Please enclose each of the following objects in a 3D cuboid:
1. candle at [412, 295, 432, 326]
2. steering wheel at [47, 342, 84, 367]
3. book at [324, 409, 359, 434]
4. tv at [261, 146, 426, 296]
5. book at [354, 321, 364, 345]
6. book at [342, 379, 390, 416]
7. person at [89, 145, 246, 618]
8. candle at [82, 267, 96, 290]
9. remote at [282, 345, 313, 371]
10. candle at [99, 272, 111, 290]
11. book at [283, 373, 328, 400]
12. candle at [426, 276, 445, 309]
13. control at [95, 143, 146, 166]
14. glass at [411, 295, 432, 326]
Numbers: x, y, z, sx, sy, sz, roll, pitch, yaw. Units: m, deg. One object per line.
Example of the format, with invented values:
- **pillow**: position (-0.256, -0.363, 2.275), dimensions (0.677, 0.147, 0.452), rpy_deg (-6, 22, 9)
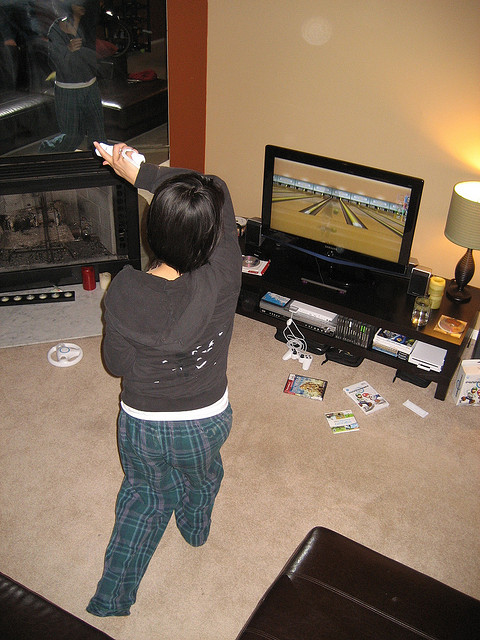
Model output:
- **candle**: position (1.003, -0.045, 2.708), dimensions (0.093, 0.146, 0.093), rpy_deg (-9, 36, -8)
- **steering wheel**: position (-1.080, 0.200, 3.041), dimensions (0.215, 0.067, 0.210), rpy_deg (4, 32, -3)
- **book**: position (0.557, 0.552, 2.693), dimensions (0.162, 0.018, 0.150), rpy_deg (-3, 33, -14)
- **tv**: position (0.633, -0.587, 2.903), dimensions (0.879, 0.632, 0.130), rpy_deg (24, 45, 21)
- **book**: position (0.696, 0.079, 2.908), dimensions (0.035, 0.150, 0.013), rpy_deg (13, 33, 11)
- **book**: position (0.728, 0.449, 2.865), dimensions (0.183, 0.024, 0.241), rpy_deg (-13, 37, -27)
- **person**: position (-0.267, 0.305, 1.570), dimensions (0.454, 1.593, 0.474), rpy_deg (4, 32, -2)
- **candle**: position (-1.061, -0.292, 3.455), dimensions (0.084, 0.188, 0.069), rpy_deg (-6, 34, -18)
- **remote**: position (0.376, 0.230, 3.115), dimensions (0.189, 0.075, 0.136), rpy_deg (23, 54, 21)
- **candle**: position (-0.956, -0.272, 3.469), dimensions (0.088, 0.143, 0.073), rpy_deg (4, 32, -3)
- **book**: position (0.389, 0.390, 2.904), dimensions (0.177, 0.175, 0.129), rpy_deg (12, 26, 7)
- **candle**: position (1.111, -0.153, 2.804), dimensions (0.112, 0.161, 0.115), rpy_deg (16, 34, 30)
- **control**: position (-0.383, -0.530, 1.560), dimensions (0.137, 0.054, 0.316), rpy_deg (-3, 33, -14)
- **glass**: position (1.002, -0.044, 2.710), dimensions (0.095, 0.154, 0.098), rpy_deg (-7, 34, -8)
